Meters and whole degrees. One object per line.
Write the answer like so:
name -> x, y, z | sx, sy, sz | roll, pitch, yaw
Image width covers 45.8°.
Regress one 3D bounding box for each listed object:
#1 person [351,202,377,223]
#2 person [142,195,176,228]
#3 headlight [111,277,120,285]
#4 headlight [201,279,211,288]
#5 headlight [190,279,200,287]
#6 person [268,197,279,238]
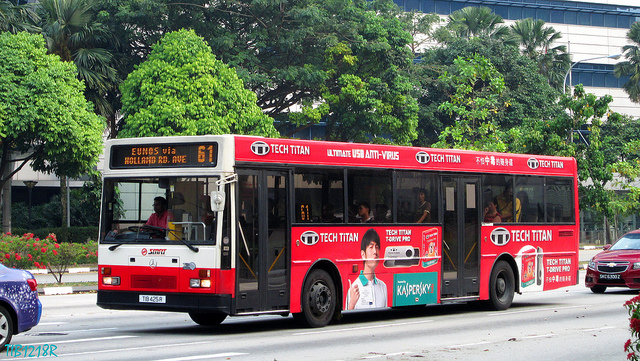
person -> 1.423, 1.155, 25.569 | 0.861, 0.727, 0.572 | -7, -20, 22
person -> -5.079, 1.112, 23.739 | 1.105, 0.979, 0.769 | -6, -4, 24
headlight -> -6.480, 3.226, 23.817 | 0.223, 0.144, 0.226 | -6, -10, 40
headlight -> -3.567, 3.242, 23.283 | 0.241, 0.252, 0.059 | 4, -10, -3
headlight -> -3.898, 3.226, 23.336 | 0.225, 0.159, 0.228 | -4, -7, 37
person -> -1.584, 1.211, 24.151 | 0.413, 1.206, 0.200 | -4, 7, -36
